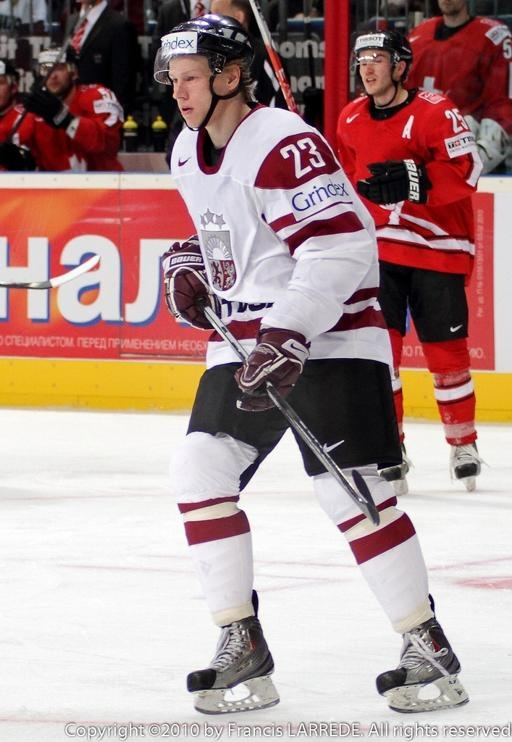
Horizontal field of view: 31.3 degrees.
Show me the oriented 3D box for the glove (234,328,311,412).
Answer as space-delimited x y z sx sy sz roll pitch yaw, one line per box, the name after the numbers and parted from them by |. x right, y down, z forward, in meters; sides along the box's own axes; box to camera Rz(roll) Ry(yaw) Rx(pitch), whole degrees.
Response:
0.030 -0.010 1.460 0.100 0.137 0.059 24 -19 22 | glove

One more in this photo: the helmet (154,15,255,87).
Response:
-0.083 -0.546 1.631 0.160 0.097 0.122 13 -12 -36 | helmet

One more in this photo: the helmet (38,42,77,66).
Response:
-1.185 -1.856 5.441 0.198 0.111 0.233 -6 6 1 | helmet

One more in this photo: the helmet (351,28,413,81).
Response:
0.515 -1.231 3.565 0.255 0.159 0.180 4 -9 -32 | helmet

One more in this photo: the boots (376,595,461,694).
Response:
0.255 0.457 1.486 0.179 0.103 0.086 -8 -7 -40 | boots

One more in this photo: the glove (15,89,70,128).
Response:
-1.236 -1.526 5.362 0.091 0.158 0.281 37 -2 43 | glove
